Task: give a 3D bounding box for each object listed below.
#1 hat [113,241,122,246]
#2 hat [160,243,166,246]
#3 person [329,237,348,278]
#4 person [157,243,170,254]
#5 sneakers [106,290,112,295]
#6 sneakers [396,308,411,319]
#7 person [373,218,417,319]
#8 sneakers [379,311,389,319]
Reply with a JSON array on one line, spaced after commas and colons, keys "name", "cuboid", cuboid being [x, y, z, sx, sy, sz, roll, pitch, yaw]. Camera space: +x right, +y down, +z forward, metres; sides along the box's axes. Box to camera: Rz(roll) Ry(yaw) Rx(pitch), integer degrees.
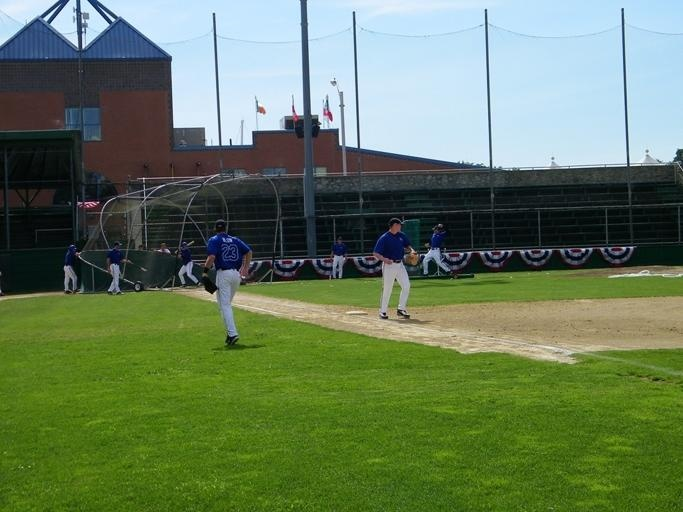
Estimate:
[{"name": "hat", "cuboid": [-8.042, -0.475, 34.394, 0.259, 0.135, 0.192, -2, 3, -14]}, {"name": "hat", "cuboid": [-6.657, -0.423, 35.826, 0.158, 0.176, 0.198, 1, 10, -2]}, {"name": "person", "cuboid": [-0.159, 0.076, 39.983, 0.579, 1.767, 0.617, 3, 15, 17]}, {"name": "person", "cuboid": [-6.808, -0.306, 36.541, 0.386, 0.260, 0.804, 1, 33, -7]}, {"name": "sneakers", "cuboid": [-8.012, 1.260, 33.237, 0.156, 0.156, 0.270, 0, -3, -26]}, {"name": "sneakers", "cuboid": [1.378, 1.259, 20.802, 0.124, 0.149, 0.330, 0, -2, -28]}, {"name": "person", "cuboid": [1.212, 0.315, 20.855, 0.872, 2.340, 1.505, -1, 15, 5]}, {"name": "sneakers", "cuboid": [0.943, 1.284, 20.608, 0.092, 0.114, 0.174, 3, -7, -28]}]
